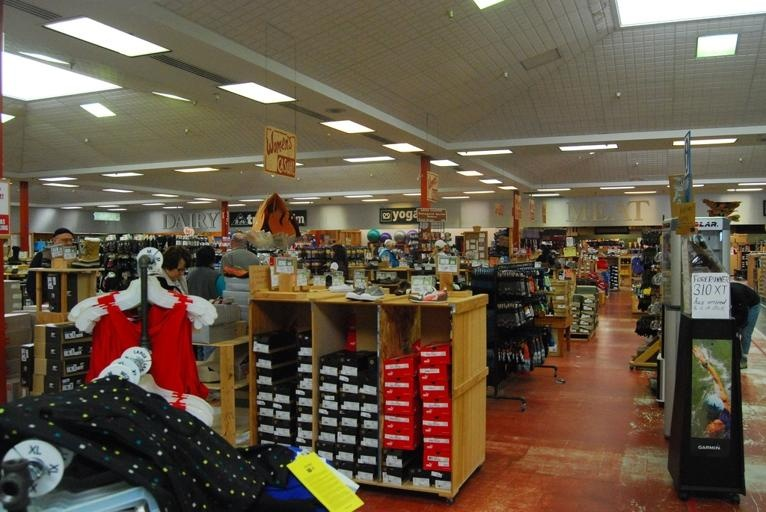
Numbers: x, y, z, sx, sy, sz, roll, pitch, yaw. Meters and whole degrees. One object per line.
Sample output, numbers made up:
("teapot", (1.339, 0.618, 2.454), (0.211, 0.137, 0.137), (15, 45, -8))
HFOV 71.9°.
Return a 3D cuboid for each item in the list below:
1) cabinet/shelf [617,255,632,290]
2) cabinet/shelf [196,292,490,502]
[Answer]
("cabinet/shelf", (9.846, 0.655, 21.479), (0.560, 1.314, 0.381), (0, 6, 25))
("cabinet/shelf", (-0.148, 1.247, 5.174), (2.167, 1.824, 0.684), (1, 0, 14))
